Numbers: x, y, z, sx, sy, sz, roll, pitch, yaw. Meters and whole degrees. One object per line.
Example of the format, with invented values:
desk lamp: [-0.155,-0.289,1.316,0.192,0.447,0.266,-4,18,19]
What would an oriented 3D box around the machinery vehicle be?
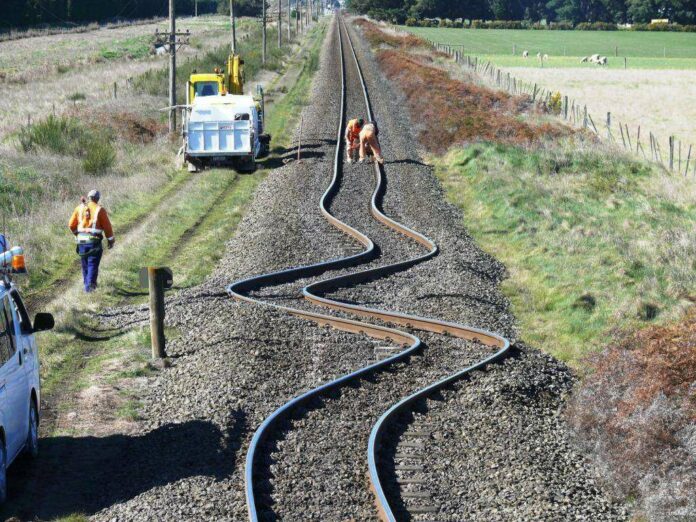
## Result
machinery vehicle: [-4.682,-5.133,43.875,3.021,3.119,4.133,-1,28,-7]

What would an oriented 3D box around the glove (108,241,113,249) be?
glove: [-6.719,-0.446,32.753,0.141,0.206,0.169,-2,-15,11]

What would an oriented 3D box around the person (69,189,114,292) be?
person: [-7.157,-0.542,32.411,1.024,2.717,1.107,-16,30,-35]

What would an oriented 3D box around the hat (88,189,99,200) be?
hat: [-7.069,-1.841,32.319,0.232,0.251,0.384,2,19,-7]

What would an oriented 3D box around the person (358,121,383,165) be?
person: [0.864,-4.394,43.629,0.833,0.947,2.820,0,22,1]
